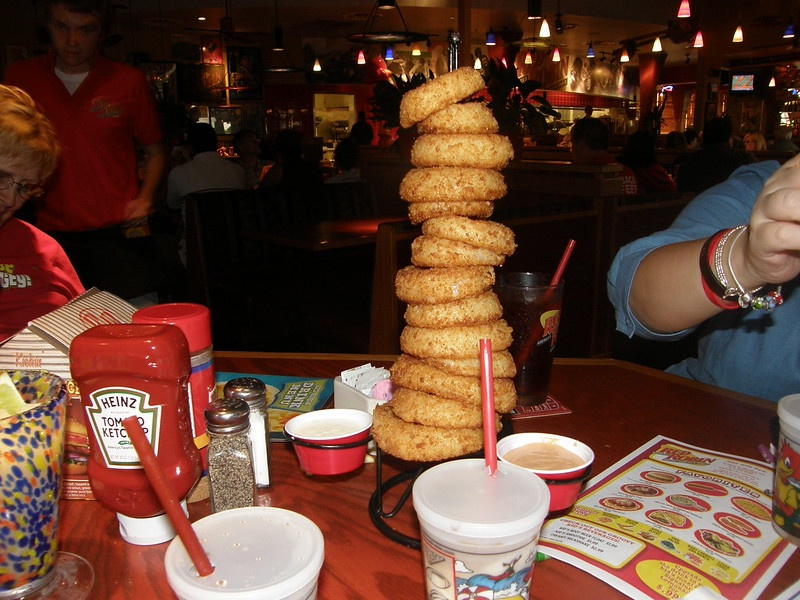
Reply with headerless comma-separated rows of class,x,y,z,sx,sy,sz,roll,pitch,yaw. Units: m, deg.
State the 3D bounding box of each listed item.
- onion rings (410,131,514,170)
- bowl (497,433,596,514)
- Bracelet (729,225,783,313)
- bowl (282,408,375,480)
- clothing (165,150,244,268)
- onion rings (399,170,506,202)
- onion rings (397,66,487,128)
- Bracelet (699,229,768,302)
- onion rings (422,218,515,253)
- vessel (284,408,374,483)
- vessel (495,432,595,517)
onion rings,0.104,-0.247,0.996,0.169,0.060,0.083,0,18,1
bowl,0.232,0.245,0.904,0.150,0.062,0.137,0,4,0
Bracelet,0.733,-0.056,1.278,0.145,0.179,0.063,-5,-7,-19
bowl,-0.130,0.250,1.030,0.164,0.070,0.153,3,5,0
clothing,-1.768,-1.079,5.415,0.706,0.517,0.386,-7,20,-17
onion rings,0.089,-0.192,0.992,0.174,0.061,0.086,0,18,2
onion rings,0.079,-0.349,1.023,0.150,0.045,0.144,-24,9,4
Bracelet,0.692,-0.074,1.266,0.052,0.143,0.141,6,28,35
onion rings,0.114,-0.105,0.986,0.154,0.069,0.066,1,19,4
vessel,-0.103,0.256,1.021,0.117,0.052,0.118,-10,-5,37
vessel,0.229,0.250,0.909,0.153,0.071,0.137,0,4,-11
